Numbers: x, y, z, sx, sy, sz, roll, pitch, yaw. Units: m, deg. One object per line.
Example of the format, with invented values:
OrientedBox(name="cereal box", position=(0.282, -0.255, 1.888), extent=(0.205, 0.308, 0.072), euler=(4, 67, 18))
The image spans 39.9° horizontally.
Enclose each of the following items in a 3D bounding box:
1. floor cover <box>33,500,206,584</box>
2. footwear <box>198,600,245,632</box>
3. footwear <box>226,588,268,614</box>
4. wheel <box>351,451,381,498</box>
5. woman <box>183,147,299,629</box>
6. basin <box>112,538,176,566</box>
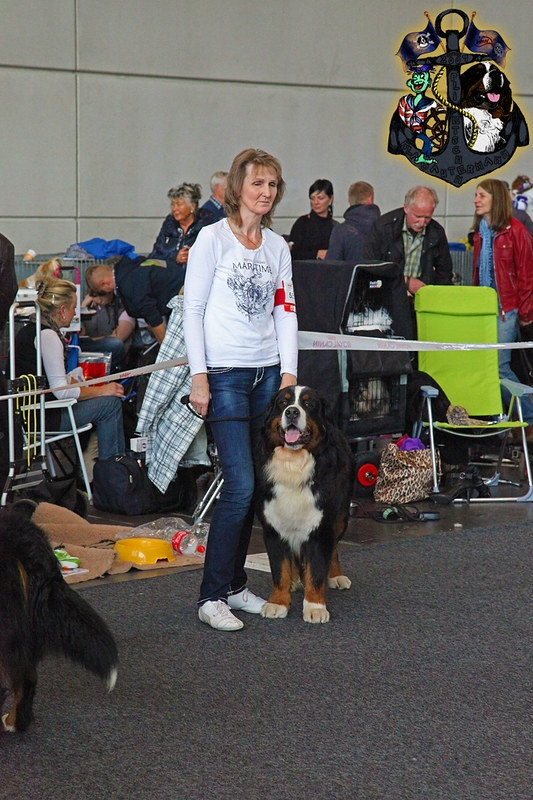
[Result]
OrientedBox(name="floor cover", position=(-0.862, 0.675, 3.960), extent=(0.644, 0.136, 0.674), euler=(6, 2, -39))
OrientedBox(name="footwear", position=(-0.185, 0.841, 2.904), extent=(0.198, 0.077, 0.081), euler=(2, 4, 44))
OrientedBox(name="footwear", position=(-0.079, 0.841, 3.089), extent=(0.204, 0.082, 0.070), euler=(3, 3, 8))
OrientedBox(name="wheel", position=(0.665, 0.539, 5.441), extent=(0.340, 0.298, 0.129), euler=(2, 4, -34))
OrientedBox(name="woman", position=(-0.096, -0.036, 2.866), extent=(0.426, 1.852, 0.318), euler=(0, 2, -2))
OrientedBox(name="basin", position=(-0.633, 0.783, 3.837), extent=(0.310, 0.110, 0.245), euler=(0, 1, -12))
